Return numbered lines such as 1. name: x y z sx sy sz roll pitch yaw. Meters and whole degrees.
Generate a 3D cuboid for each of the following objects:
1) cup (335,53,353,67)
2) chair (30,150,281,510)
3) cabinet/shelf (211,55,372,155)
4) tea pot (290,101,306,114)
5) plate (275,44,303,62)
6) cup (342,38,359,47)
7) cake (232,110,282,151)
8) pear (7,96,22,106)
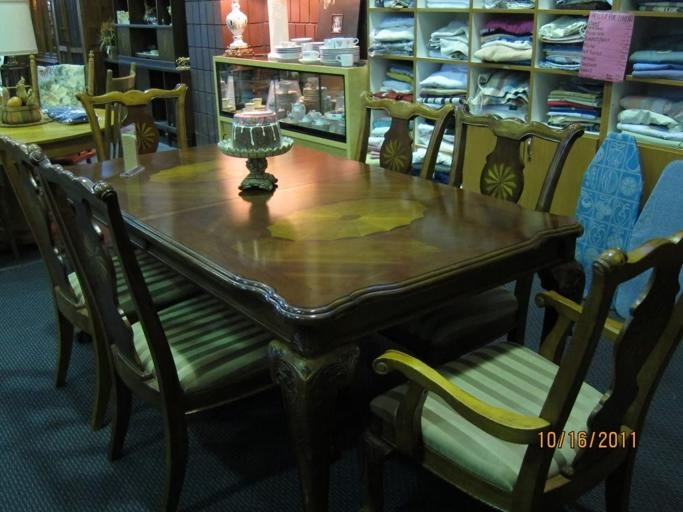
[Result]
1. cup: 0.018 -1.537 3.960 0.121 0.090 0.083 0 19 4
2. chair: -0.615 0.027 2.159 0.970 1.486 1.007 -20 34 -35
3. cabinet/shelf: -0.433 -1.289 4.839 1.826 1.120 0.559 21 33 37
4. tea pot: -0.385 -1.283 4.394 0.116 0.120 0.087 -7 21 -18
5. plate: -0.473 -1.796 4.388 0.180 0.084 0.179 -24 35 -35
6. cup: 0.070 -1.737 4.110 0.108 0.073 0.297 4 24 5
7. cake: -0.327 -0.489 2.113 0.229 0.168 0.231 1 9 -23
8. pear: -2.270 -1.066 3.495 0.106 0.066 0.104 -13 28 -31
